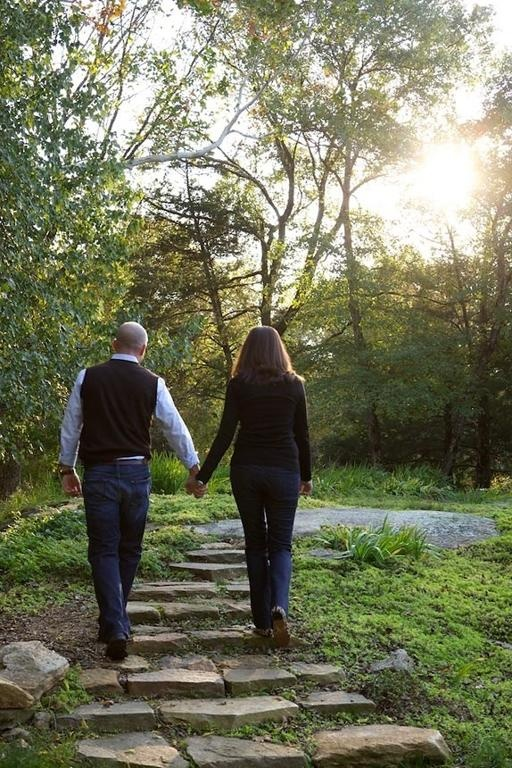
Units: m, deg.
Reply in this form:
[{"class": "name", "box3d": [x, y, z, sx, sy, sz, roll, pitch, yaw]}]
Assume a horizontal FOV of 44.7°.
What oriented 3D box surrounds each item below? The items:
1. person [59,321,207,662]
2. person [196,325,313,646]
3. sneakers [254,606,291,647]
[{"class": "person", "box3d": [-0.695, 0.545, 3.492, 0.623, 1.800, 0.627, -3, -7, 38]}, {"class": "person", "box3d": [-0.008, 0.548, 3.572, 0.649, 1.810, 0.436, 1, -5, 2]}, {"class": "sneakers", "box3d": [0.082, 1.349, 3.403, 0.155, 0.379, 0.162, -4, 28, 8]}]
